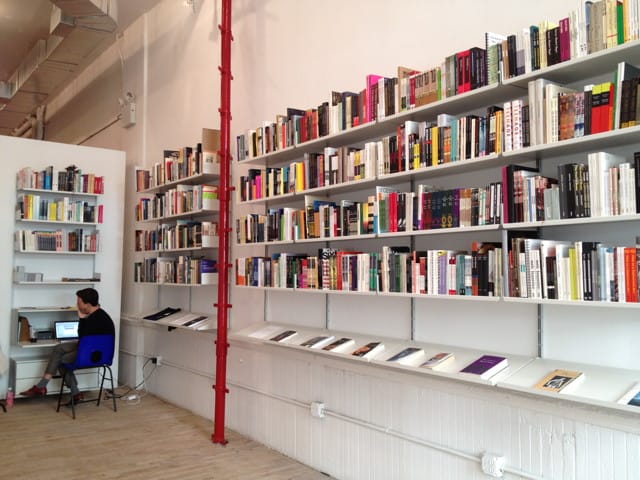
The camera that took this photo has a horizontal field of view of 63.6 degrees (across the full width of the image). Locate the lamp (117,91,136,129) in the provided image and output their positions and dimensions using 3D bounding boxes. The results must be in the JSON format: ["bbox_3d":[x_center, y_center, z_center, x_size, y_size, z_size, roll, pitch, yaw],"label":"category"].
[{"bbox_3d":[-2.952,-2.011,7.975,0.181,0.572,0.422,-1,0,-34],"label":"lamp"}]

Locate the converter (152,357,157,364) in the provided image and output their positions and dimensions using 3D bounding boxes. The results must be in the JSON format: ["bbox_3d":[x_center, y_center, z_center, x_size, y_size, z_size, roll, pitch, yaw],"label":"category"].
[{"bbox_3d":[-2.240,1.640,7.055,0.058,0.100,0.115,1,-4,-38],"label":"converter"}]

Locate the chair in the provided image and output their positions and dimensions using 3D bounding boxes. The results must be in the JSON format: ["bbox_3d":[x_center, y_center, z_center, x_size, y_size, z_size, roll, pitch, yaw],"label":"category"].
[{"bbox_3d":[-3.009,1.648,6.742,0.715,1.064,1.485,-1,0,-23],"label":"chair"}]

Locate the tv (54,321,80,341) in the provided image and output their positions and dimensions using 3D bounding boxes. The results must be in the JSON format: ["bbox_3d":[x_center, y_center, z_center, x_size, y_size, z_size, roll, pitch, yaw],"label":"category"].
[{"bbox_3d":[-3.388,1.215,7.010,0.335,0.284,0.243,6,-12,-34],"label":"tv"}]
